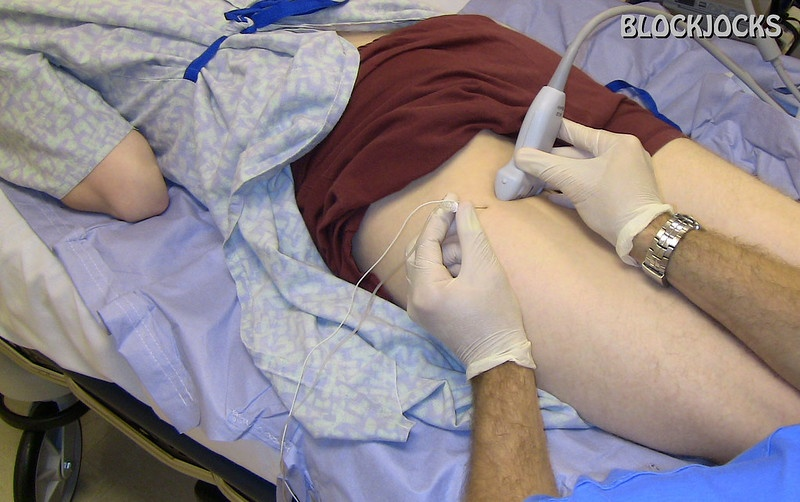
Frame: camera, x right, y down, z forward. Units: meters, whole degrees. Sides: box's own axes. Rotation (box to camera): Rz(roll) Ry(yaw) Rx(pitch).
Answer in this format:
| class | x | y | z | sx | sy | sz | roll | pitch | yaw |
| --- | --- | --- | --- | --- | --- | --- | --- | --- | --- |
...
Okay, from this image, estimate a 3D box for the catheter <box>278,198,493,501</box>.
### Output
| class | x | y | z | sx | sy | sz | roll | pitch | yaw |
| --- | --- | --- | --- | --- | --- | --- | --- | --- | --- |
| catheter | -0.070 | 0.157 | 1.829 | 0.332 | 0.099 | 1.136 | 23 | 85 | 16 |
